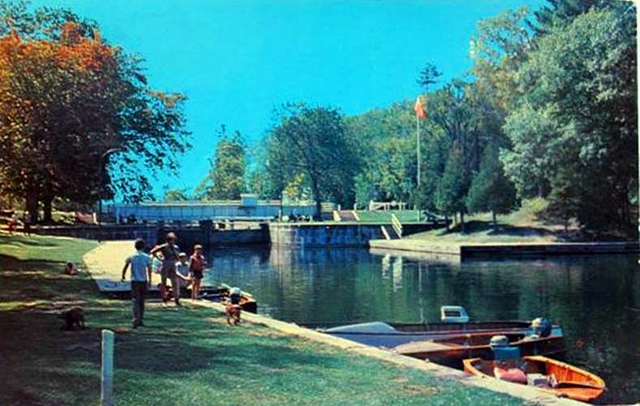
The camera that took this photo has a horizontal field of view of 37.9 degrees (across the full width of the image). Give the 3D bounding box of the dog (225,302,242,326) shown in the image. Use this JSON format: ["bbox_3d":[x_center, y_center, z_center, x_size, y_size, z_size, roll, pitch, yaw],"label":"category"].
[{"bbox_3d":[-5.541,7.028,58.963,1.161,1.484,1.206,1,-3,-21],"label":"dog"}]

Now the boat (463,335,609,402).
[{"bbox_3d":[13.267,10.081,56.964,7.641,3.881,2.533,-3,-6,14],"label":"boat"}]

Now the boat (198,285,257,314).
[{"bbox_3d":[-6.514,6.630,65.176,3.262,0.766,2.137,13,2,34],"label":"boat"}]

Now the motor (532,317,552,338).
[{"bbox_3d":[14.305,8.055,60.187,1.204,1.138,0.975,-4,7,-23],"label":"motor"}]

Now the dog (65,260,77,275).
[{"bbox_3d":[-17.939,4.695,67.352,0.913,1.267,0.937,1,-5,8],"label":"dog"}]
